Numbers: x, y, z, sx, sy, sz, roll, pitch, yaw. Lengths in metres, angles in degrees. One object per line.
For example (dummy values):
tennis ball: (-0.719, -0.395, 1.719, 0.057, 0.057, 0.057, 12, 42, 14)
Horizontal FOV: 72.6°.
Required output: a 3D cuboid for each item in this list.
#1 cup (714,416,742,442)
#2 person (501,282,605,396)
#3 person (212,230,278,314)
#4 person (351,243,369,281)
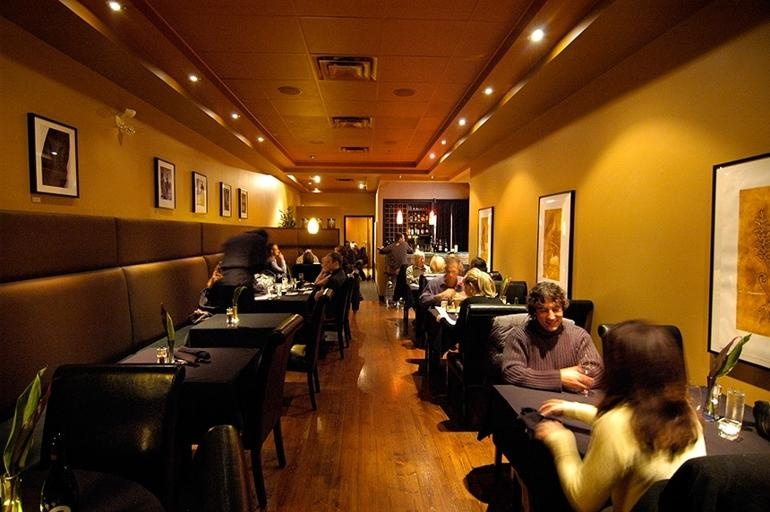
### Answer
cup: (2.324, 1.168, 3.573, 0.160, 0.156, 0.119, -1, -4, 21)
person: (1.333, 0.676, 4.266, 0.735, 0.930, 0.931, -3, 4, 5)
person: (-1.655, 0.174, 6.229, 0.722, 0.999, 0.363, 11, -1, 41)
person: (-0.765, 0.068, 14.688, 0.338, 1.047, 0.323, 19, 11, 28)
